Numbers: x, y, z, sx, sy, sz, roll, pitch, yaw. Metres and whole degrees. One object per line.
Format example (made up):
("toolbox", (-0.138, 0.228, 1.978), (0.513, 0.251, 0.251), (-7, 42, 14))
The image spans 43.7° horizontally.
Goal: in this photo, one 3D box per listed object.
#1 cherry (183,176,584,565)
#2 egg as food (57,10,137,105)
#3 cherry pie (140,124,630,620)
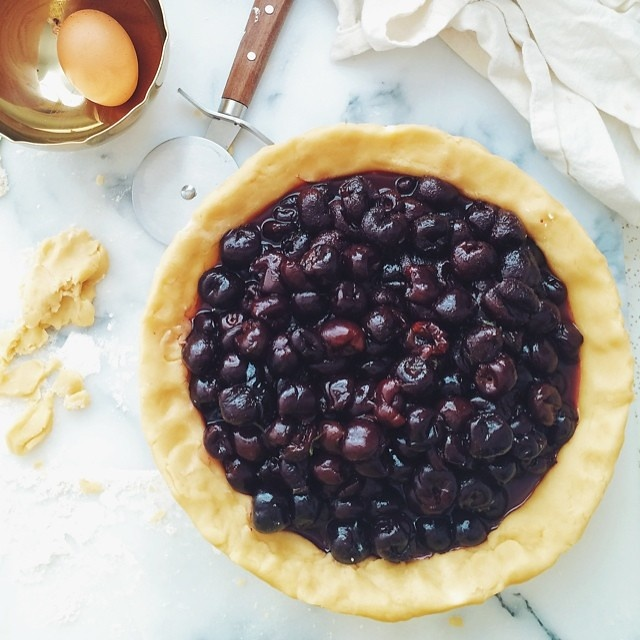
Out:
("cherry", (0.187, 0.125, 2.346), (1.172, 0.407, 1.160), (-12, 78, 1))
("egg as food", (-0.719, -0.859, 2.618), (0.231, 0.189, 0.290), (-27, 79, -1))
("cherry pie", (0.233, 0.153, 2.379), (2.045, 0.397, 1.650), (-1, 94, -1))
